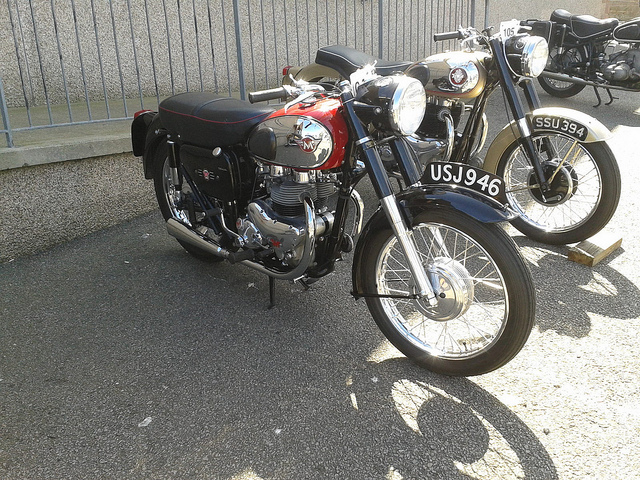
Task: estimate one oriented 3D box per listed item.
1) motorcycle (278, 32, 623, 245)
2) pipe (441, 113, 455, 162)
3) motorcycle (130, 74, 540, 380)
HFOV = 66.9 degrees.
[{"bbox_3d":[0.959,-1.161,4.455,3.400,1.665,1.050,28,40,36],"label":"motorcycle"},{"bbox_3d":[1.017,-0.821,3.786,0.068,0.354,0.109,-11,15,-19],"label":"pipe"},{"bbox_3d":[-0.175,-0.340,3.273,3.271,1.560,1.125,20,31,35],"label":"motorcycle"}]
